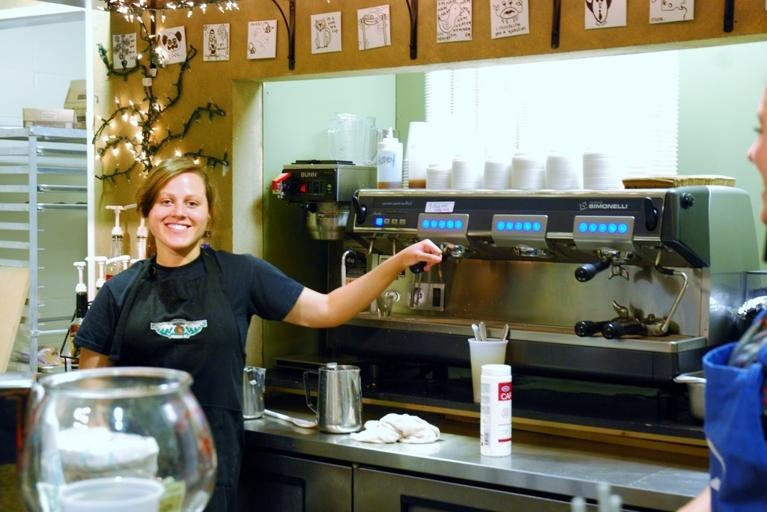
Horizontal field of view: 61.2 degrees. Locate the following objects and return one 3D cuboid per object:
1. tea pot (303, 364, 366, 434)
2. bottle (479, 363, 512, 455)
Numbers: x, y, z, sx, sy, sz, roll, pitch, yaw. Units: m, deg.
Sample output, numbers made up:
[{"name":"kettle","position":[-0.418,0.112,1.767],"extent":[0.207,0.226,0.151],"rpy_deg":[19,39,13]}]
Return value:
[{"name":"tea pot","position":[-0.178,0.562,2.570],"extent":[0.325,0.274,0.209],"rpy_deg":[-1,3,3]},{"name":"bottle","position":[0.393,0.561,2.259],"extent":[0.099,0.301,0.070],"rpy_deg":[-1,5,3]}]
